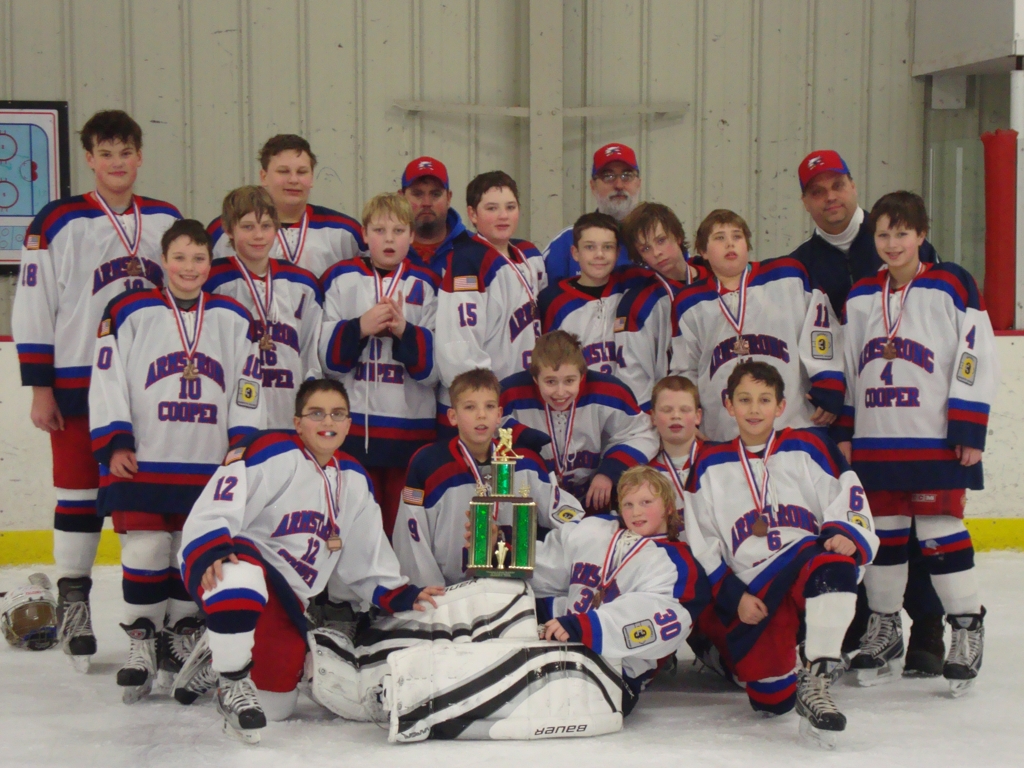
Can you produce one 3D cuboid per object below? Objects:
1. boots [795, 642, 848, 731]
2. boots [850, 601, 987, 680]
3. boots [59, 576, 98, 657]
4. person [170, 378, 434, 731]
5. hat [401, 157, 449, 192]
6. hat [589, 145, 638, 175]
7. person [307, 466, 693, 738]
[{"bbox_3d":[1.691,1.691,9.668,0.149,0.424,0.511,6,3,-12],"label":"boots"},{"bbox_3d":[2.394,1.549,10.364,0.475,0.415,0.537,-5,-11,23],"label":"boots"},{"bbox_3d":[-2.698,1.433,10.716,0.173,0.455,0.550,5,10,-31],"label":"boots"},{"bbox_3d":[-1.259,1.032,9.962,1.205,1.930,0.886,10,-12,-35],"label":"person"},{"bbox_3d":[-0.598,-1.420,11.691,0.199,0.214,0.334,1,6,-4],"label":"hat"},{"bbox_3d":[0.660,-1.590,11.956,0.260,0.262,0.490,-3,-3,-3],"label":"hat"},{"bbox_3d":[0.013,1.373,9.902,1.845,1.309,1.251,-13,18,-28],"label":"person"}]
